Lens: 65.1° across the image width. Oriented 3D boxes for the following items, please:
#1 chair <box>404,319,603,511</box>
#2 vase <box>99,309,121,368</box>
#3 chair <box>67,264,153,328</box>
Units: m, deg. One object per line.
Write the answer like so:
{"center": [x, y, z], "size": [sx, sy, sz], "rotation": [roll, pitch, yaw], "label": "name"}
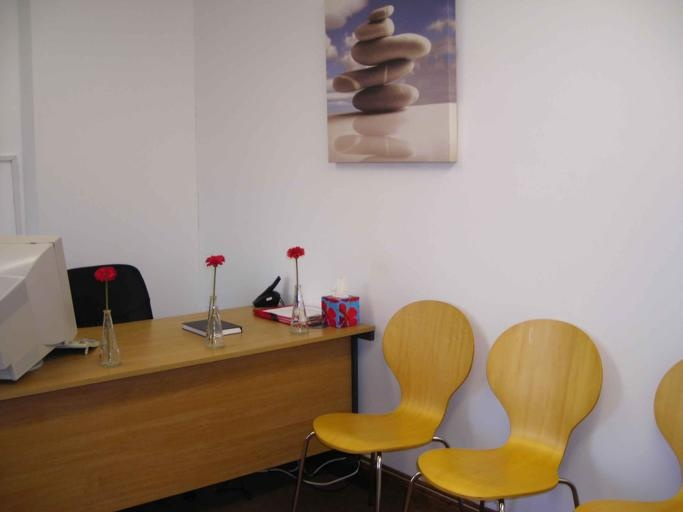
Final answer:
{"center": [0.677, 0.641, 2.166], "size": [0.672, 0.699, 0.474], "rotation": [-5, 8, -40], "label": "chair"}
{"center": [-1.036, 0.343, 2.385], "size": [0.083, 0.244, 0.250], "rotation": [-3, 7, -24], "label": "vase"}
{"center": [-1.365, 0.243, 3.213], "size": [0.348, 0.495, 0.394], "rotation": [-4, -3, -30], "label": "chair"}
